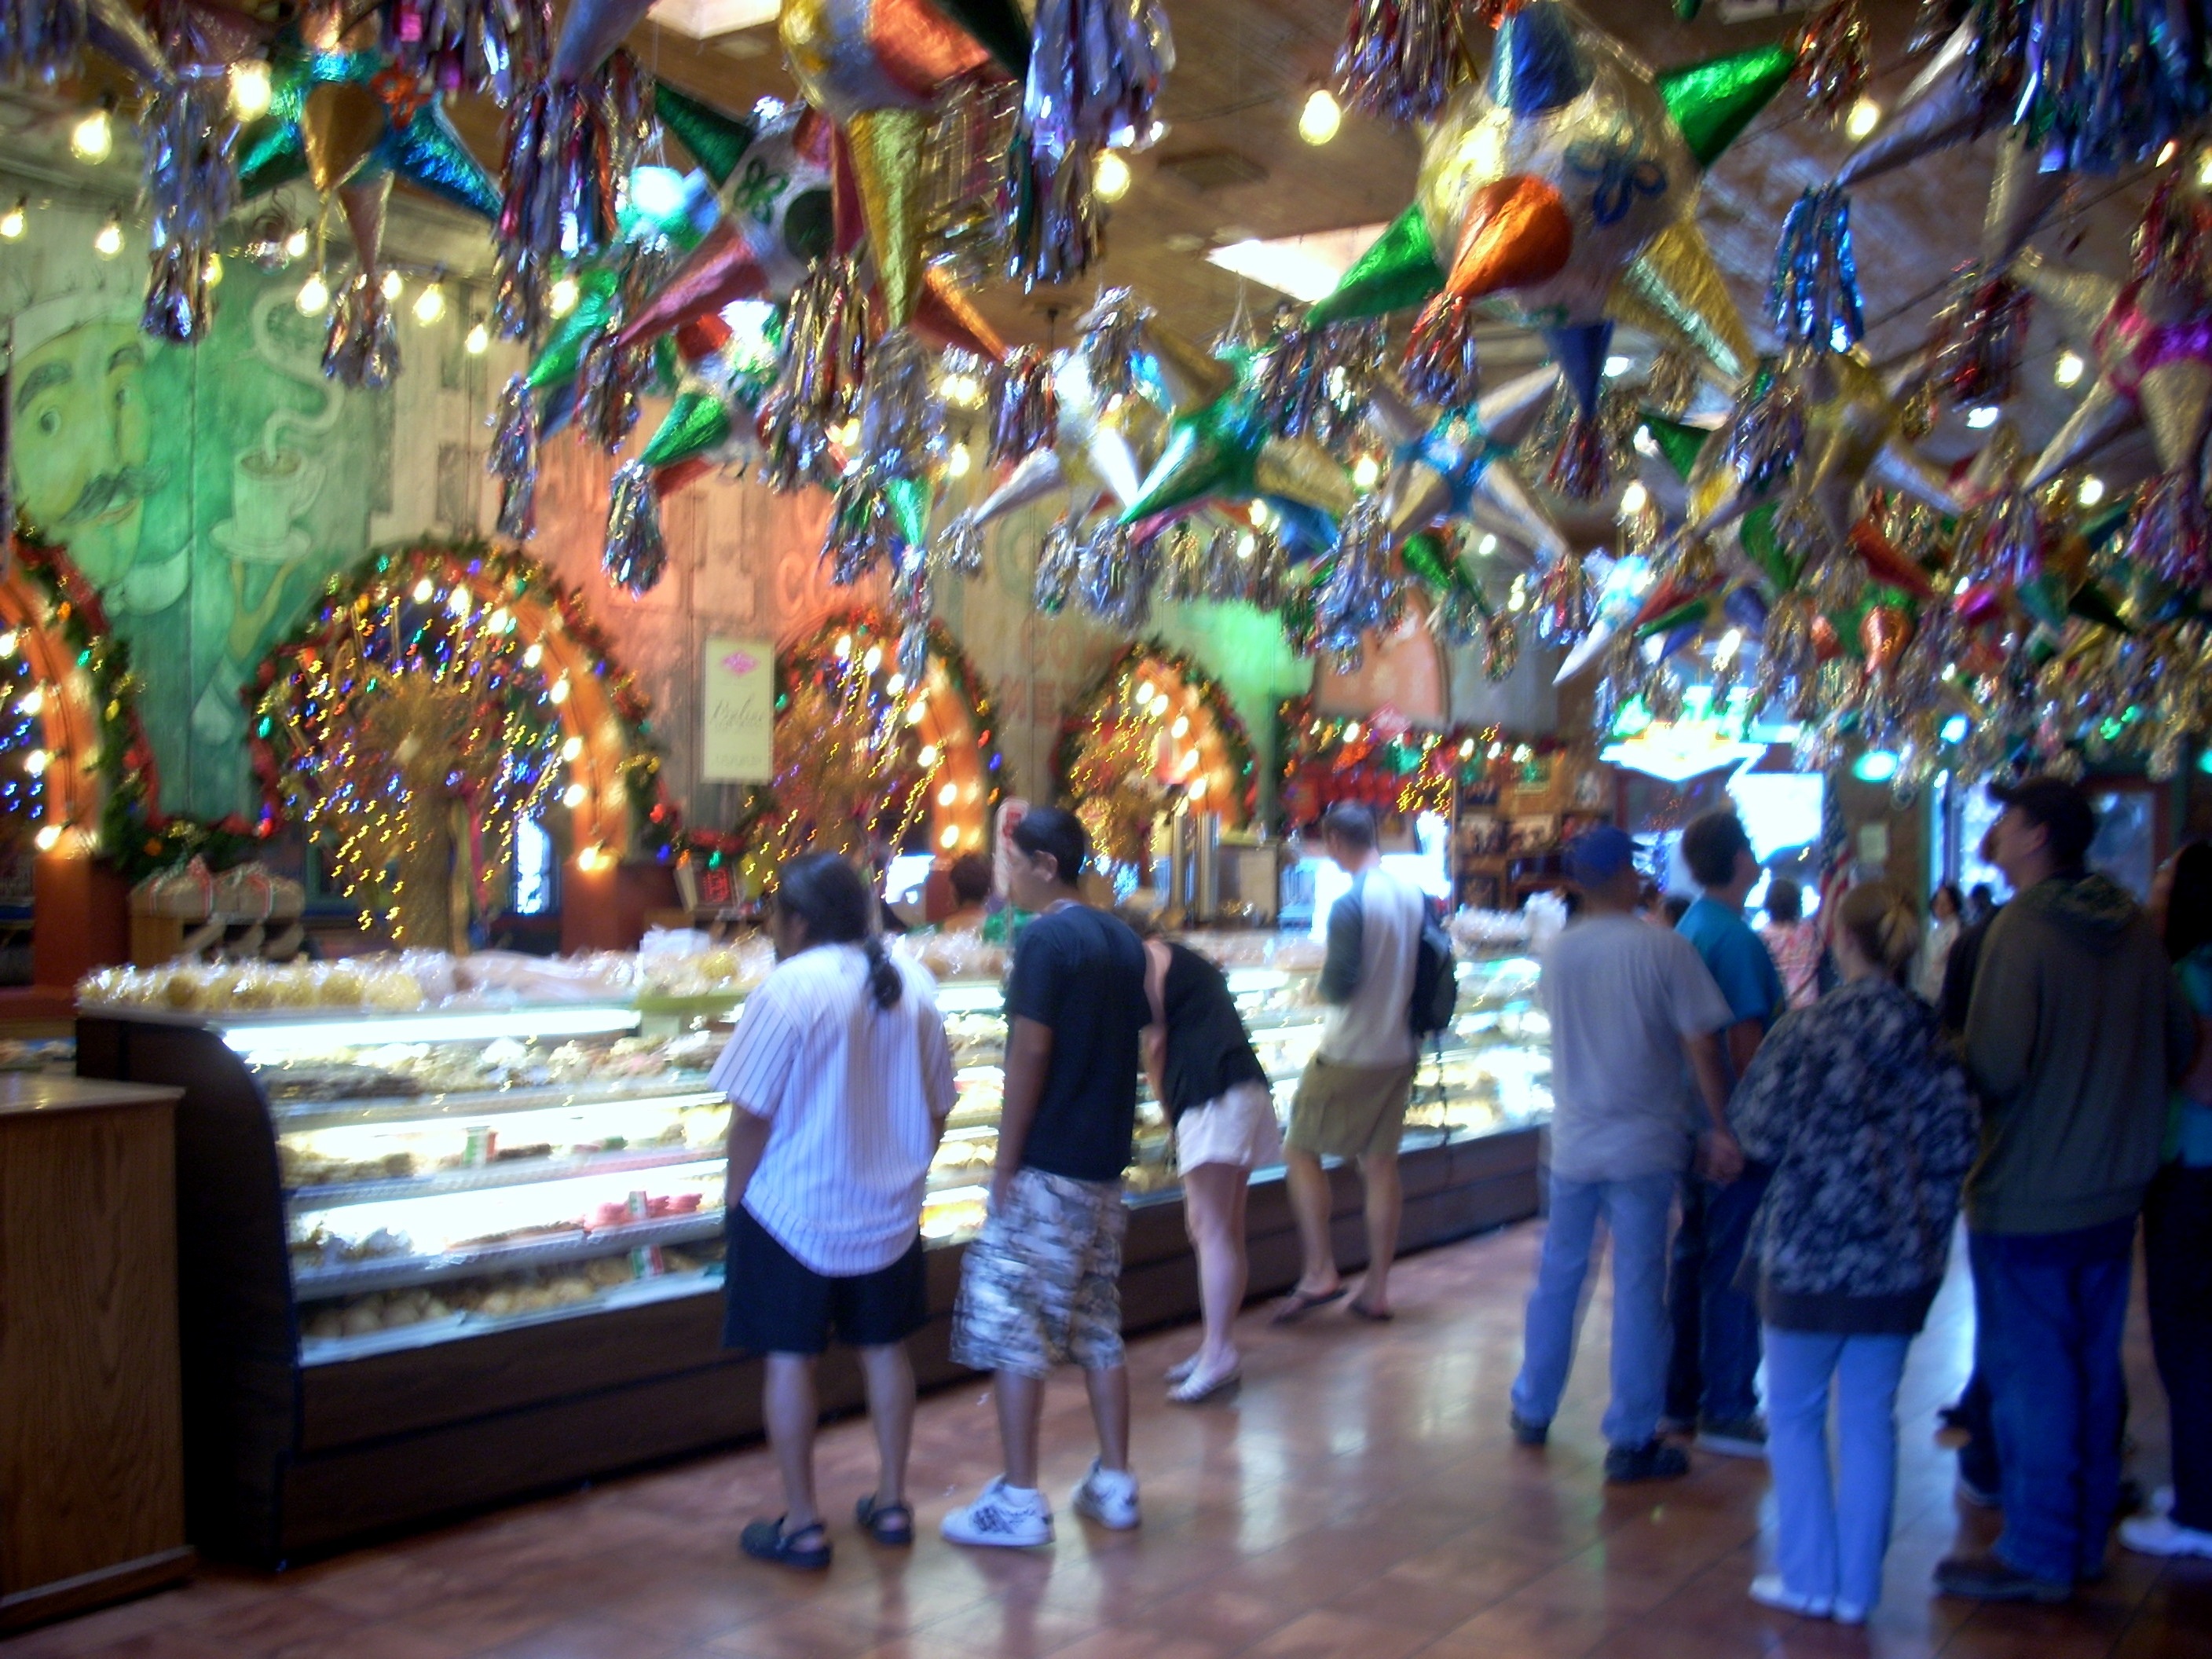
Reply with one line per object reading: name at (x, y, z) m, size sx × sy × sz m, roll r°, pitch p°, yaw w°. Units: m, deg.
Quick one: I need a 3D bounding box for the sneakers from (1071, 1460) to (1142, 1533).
sneakers at (0.008, 1.893, 4.820) m, size 0.101 × 0.161 × 0.209 m, roll 3°, pitch -1°, yaw -15°

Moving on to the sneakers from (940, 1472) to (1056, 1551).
sneakers at (-0.289, 1.872, 4.714) m, size 0.323 × 0.172 × 0.145 m, roll 0°, pitch -5°, yaw 31°

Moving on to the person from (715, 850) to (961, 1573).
person at (-0.748, 1.022, 4.660) m, size 0.615 × 1.879 × 0.341 m, roll 1°, pitch 1°, yaw -13°

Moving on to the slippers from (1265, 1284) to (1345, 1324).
slippers at (0.851, 1.964, 7.049) m, size 0.336 × 0.160 × 0.131 m, roll -8°, pitch -8°, yaw -23°

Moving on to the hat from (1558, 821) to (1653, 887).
hat at (1.626, 0.040, 5.535) m, size 0.201 × 0.291 × 0.248 m, roll 4°, pitch 0°, yaw 31°

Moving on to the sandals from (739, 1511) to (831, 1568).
sandals at (-0.866, 1.888, 4.576) m, size 0.225 × 0.101 × 0.114 m, roll 3°, pitch -3°, yaw 38°

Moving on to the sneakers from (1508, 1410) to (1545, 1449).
sneakers at (1.376, 1.950, 5.518) m, size 0.053 × 0.102 × 0.140 m, roll 1°, pitch 7°, yaw 6°

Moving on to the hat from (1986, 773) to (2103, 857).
hat at (2.593, -0.039, 4.692) m, size 0.227 × 0.274 × 0.193 m, roll -23°, pitch -13°, yaw 33°

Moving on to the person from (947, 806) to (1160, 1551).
person at (-0.153, 0.961, 4.804) m, size 0.605 × 2.018 × 0.404 m, roll 0°, pitch 1°, yaw -45°

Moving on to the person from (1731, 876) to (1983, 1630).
person at (1.897, 1.183, 4.329) m, size 0.559 × 1.674 × 0.233 m, roll 1°, pitch 1°, yaw 28°

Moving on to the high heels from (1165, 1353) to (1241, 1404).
high heels at (0.325, 1.909, 5.928) m, size 0.323 × 0.166 × 0.103 m, roll 13°, pitch -16°, yaw -43°
